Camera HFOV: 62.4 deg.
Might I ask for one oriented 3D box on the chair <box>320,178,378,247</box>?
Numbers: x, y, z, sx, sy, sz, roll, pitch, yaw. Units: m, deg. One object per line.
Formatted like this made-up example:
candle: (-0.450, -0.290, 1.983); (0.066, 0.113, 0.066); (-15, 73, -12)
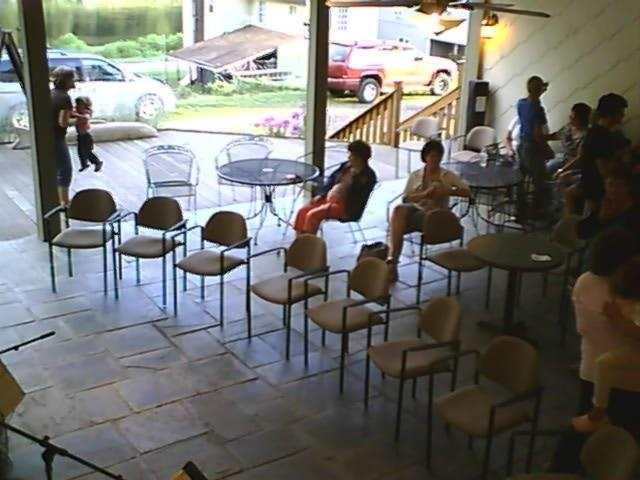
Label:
chair: (0.484, -0.430, 7.373); (0.854, 1.092, 0.852); (4, 18, -7)

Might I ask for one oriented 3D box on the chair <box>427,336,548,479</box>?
chair: (1.079, 1.039, 3.406); (0.523, 0.772, 0.491); (-15, 25, -33)

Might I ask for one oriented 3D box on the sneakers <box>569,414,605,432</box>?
sneakers: (1.604, 1.100, 3.180); (0.173, 0.089, 0.074); (-5, -24, 34)

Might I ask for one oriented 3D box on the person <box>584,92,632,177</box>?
person: (2.841, -1.027, 5.216); (0.394, 0.718, 0.629); (13, 25, 31)

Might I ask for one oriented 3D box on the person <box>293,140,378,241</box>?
person: (0.143, -0.545, 6.442); (0.864, 1.384, 0.646); (3, 26, -17)

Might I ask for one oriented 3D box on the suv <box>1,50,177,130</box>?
suv: (-3.389, -2.200, 7.638); (2.001, 0.853, 1.102); (-9, 29, -16)

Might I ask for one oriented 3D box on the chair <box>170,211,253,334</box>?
chair: (-1.114, 0.158, 5.534); (0.764, 0.989, 1.500); (-5, 21, -10)

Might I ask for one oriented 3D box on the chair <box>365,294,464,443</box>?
chair: (0.710, 1.010, 4.018); (0.734, 1.036, 0.832); (-5, 13, -25)
